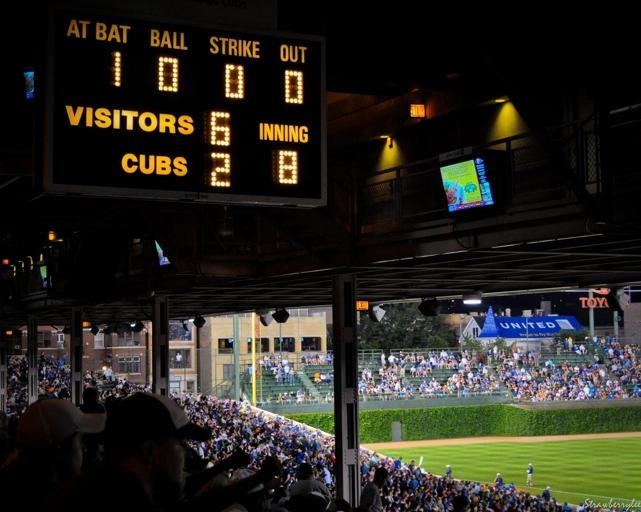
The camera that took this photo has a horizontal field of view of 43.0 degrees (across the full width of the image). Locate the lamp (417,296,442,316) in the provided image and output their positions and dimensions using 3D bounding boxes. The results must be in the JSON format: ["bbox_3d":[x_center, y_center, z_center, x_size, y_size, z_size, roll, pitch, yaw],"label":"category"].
[{"bbox_3d":[3.122,1.367,22.692,0.496,0.537,0.534,-16,-1,-19],"label":"lamp"}]

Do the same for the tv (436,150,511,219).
[{"bbox_3d":[2.407,-1.119,12.540,1.141,1.081,0.329,13,18,40],"label":"tv"}]

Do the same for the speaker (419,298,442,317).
[{"bbox_3d":[3.143,1.368,22.688,0.487,0.534,0.532,-8,-3,-24],"label":"speaker"}]

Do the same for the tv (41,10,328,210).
[{"bbox_3d":[-1.445,-1.591,8.938,3.083,2.107,0.546,-4,14,-21],"label":"tv"}]

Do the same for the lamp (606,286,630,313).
[{"bbox_3d":[8.128,1.126,21.998,0.601,0.884,0.827,0,-10,-3],"label":"lamp"}]

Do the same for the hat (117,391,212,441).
[{"bbox_3d":[-0.950,0.926,4.641,0.382,0.215,0.260,-3,-1,-14],"label":"hat"}]

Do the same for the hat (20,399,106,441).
[{"bbox_3d":[-1.794,1.121,5.697,0.534,0.299,0.360,-11,10,-21],"label":"hat"}]
